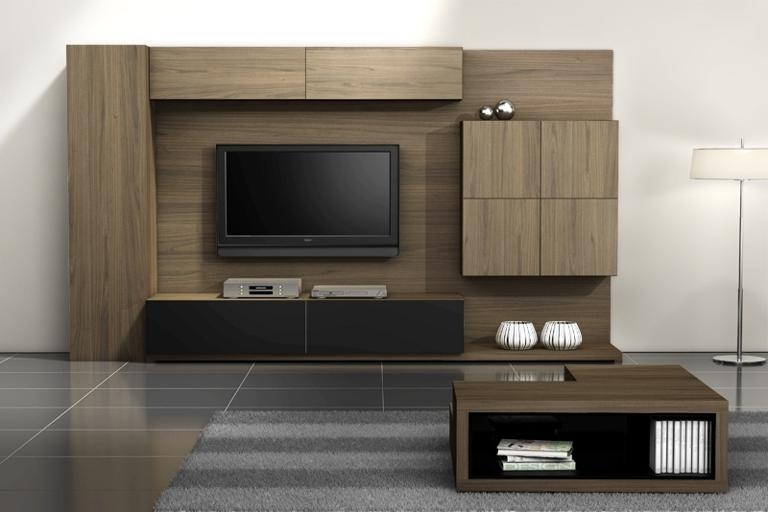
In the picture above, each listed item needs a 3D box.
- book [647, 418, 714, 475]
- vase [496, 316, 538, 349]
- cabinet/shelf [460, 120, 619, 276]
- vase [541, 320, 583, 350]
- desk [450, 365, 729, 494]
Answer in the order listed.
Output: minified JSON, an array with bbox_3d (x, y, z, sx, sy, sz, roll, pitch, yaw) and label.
[{"bbox_3d":[1.537,0.990,3.401,0.313,0.291,0.067,-1,9,-3],"label":"book"},{"bbox_3d":[1.164,0.672,5.799,0.318,0.166,0.280,0,2,8],"label":"vase"},{"bbox_3d":[1.349,-0.549,5.645,1.741,1.270,0.495,0,1,0],"label":"cabinet/shelf"},{"bbox_3d":[1.539,0.683,5.758,0.323,0.174,0.282,0,-3,-8],"label":"vase"},{"bbox_3d":[1.524,1.061,3.720,1.470,0.393,1.321,-12,-21,44],"label":"desk"}]
